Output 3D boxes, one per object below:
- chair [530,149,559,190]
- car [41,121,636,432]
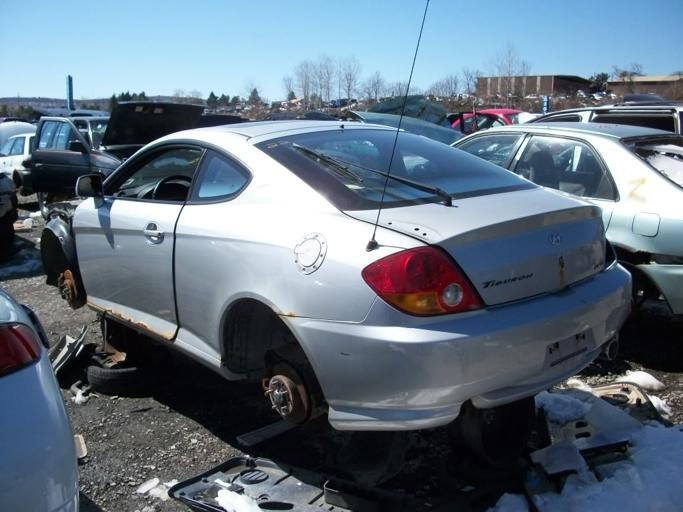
[{"bbox_3d":[1.871,-0.869,4.413,0.332,0.419,0.231,-4,51,18],"label":"chair"},{"bbox_3d":[-0.406,-0.106,2.937,3.306,1.025,1.810,19,27,41],"label":"car"}]
